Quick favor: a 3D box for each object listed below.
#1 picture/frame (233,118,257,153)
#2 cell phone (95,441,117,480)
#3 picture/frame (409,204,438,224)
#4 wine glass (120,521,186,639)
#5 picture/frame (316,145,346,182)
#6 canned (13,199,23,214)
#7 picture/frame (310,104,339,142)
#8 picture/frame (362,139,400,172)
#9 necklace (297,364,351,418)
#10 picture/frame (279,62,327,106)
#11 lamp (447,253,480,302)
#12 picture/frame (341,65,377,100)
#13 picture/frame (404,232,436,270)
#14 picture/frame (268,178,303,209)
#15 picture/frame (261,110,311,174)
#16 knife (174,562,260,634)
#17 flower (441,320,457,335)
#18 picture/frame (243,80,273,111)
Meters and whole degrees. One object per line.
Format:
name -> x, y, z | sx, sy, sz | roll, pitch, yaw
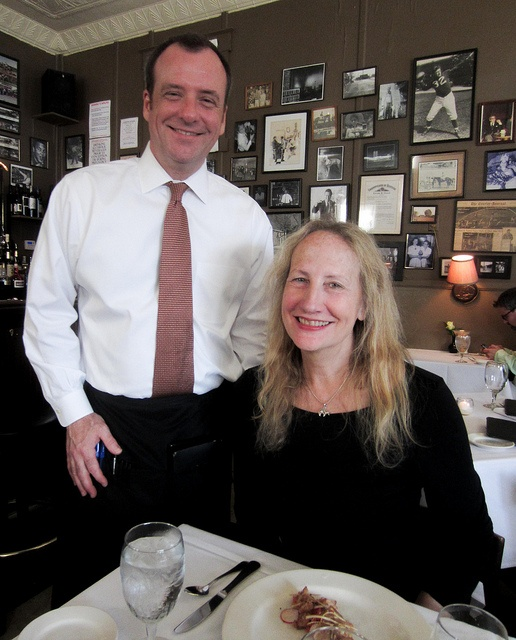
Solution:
picture/frame -> -0.106, -1.626, 4.583 | 0.300, 0.365, 0.028 | 6, 5, 29
cell phone -> -0.398, 0.372, 1.384 | 0.052, 0.105, 0.015 | -3, 13, -18
picture/frame -> 1.265, -0.814, 3.972 | 0.155, 0.131, 0.016 | 6, 8, 26
wine glass -> -0.149, 0.375, 0.752 | 0.083, 0.151, 0.141 | -1, 13, -11
picture/frame -> 0.600, -1.289, 4.253 | 0.295, 0.361, 0.025 | 5, 9, 39
canned -> -2.308, -1.087, 5.026 | 0.086, 0.150, 0.092 | 1, 13, 0
picture/frame -> 0.548, -1.608, 4.236 | 0.326, 0.374, 0.024 | 2, 3, 29
picture/frame -> 0.965, -1.288, 4.064 | 0.265, 0.224, 0.021 | 5, 4, 30
necklace -> 0.173, 0.181, 1.329 | 0.159, 0.025, 0.189 | 3, 42, 25
picture/frame -> 0.384, -1.950, 4.295 | 0.414, 0.310, 0.018 | 4, 3, 31
lamp -> 1.447, -0.275, 3.695 | 0.200, 0.352, 0.200 | -15, 18, -22
picture/frame -> 0.799, -1.860, 4.075 | 0.299, 0.214, 0.031 | 3, 4, 31
picture/frame -> 1.250, -0.539, 4.006 | 0.261, 0.346, 0.038 | 6, 8, 26
picture/frame -> 0.247, -1.090, 4.459 | 0.273, 0.228, 0.027 | 5, 6, 31
picture/frame -> 0.254, -1.521, 4.409 | 0.545, 0.638, 0.025 | 4, 5, 34
knife -> -0.056, 0.422, 0.849 | 0.037, 0.011, 0.262 | 8, 1, 23
flower -> 1.435, 0.047, 3.926 | 0.061, 0.060, 0.115 | 26, -3, 28
picture/frame -> 0.012, -1.939, 4.498 | 0.296, 0.245, 0.016 | 4, 3, 32
